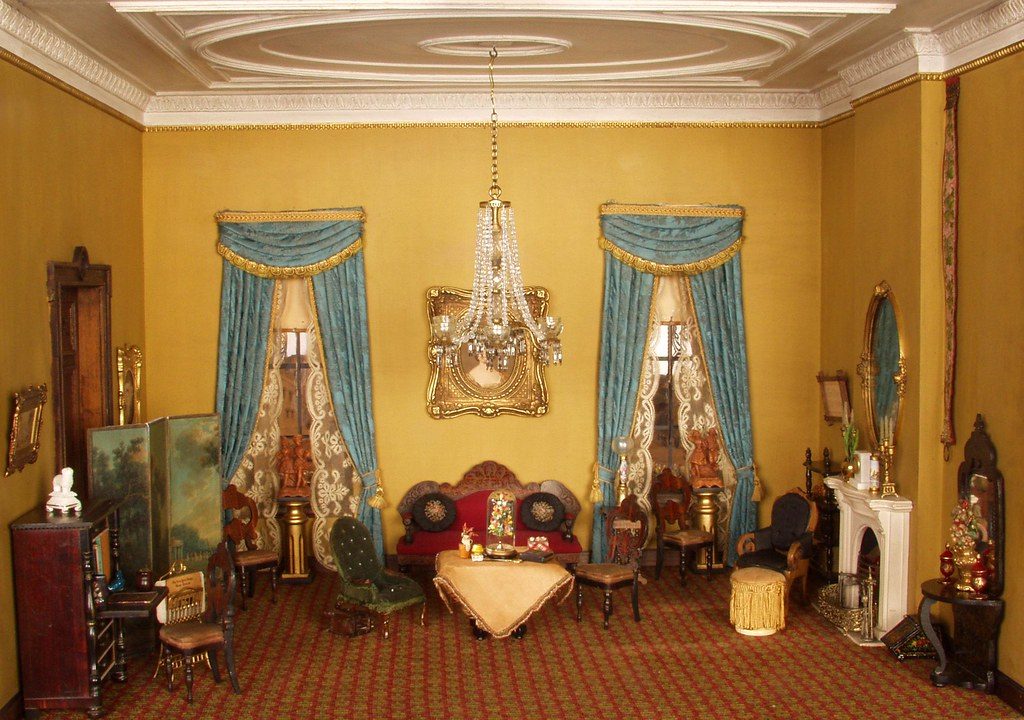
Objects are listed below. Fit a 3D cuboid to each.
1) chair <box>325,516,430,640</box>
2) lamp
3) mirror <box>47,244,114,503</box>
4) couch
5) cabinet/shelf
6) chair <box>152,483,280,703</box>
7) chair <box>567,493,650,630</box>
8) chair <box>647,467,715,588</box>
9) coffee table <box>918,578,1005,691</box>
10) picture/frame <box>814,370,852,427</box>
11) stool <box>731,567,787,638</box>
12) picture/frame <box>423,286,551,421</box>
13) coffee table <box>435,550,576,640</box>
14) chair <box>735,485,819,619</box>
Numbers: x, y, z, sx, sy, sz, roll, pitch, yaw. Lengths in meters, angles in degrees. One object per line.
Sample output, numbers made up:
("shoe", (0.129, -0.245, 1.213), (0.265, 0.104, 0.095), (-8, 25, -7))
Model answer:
("chair", (-1.473, 2.356, 9.045), (0.960, 1.245, 0.817), (-6, -6, 44))
("lamp", (-0.144, -1.584, 8.557), (1.383, 3.267, 1.386), (4, 9, 37))
("mirror", (-4.614, 0.090, 8.864), (0.388, 2.599, 1.494), (-3, 9, -16))
("couch", (-0.283, 2.103, 10.415), (2.258, 1.448, 0.858), (1, 6, -5))
("cabinet/shelf", (-4.148, 2.303, 7.613), (0.803, 1.743, 0.903), (-2, 9, -11))
("chair", (-3.237, 2.347, 9.078), (1.220, 1.344, 3.206), (-3, 9, -17))
("chair", (1.126, 2.361, 9.518), (0.716, 1.344, 0.754), (-1, -3, 37))
("chair", (2.229, 2.163, 10.632), (0.691, 1.291, 0.721), (-2, 3, -21))
("coffee table", (4.339, 2.640, 7.813), (0.568, 1.033, 1.073), (0, 0, 6))
("picture/frame", (4.044, 0.505, 10.404), (0.109, 0.664, 0.707), (-8, -7, 38))
("stool", (2.725, 2.686, 9.139), (0.601, 0.614, 0.621), (0, 1, 3))
("picture/frame", (-0.343, -0.090, 9.747), (1.651, 1.731, 0.191), (0, 5, -6))
("coffee table", (-0.100, 2.493, 8.809), (1.138, 0.623, 0.891), (0, 0, -9))
("chair", (3.144, 2.346, 9.764), (0.913, 1.569, 0.776), (-3, 4, -38))
